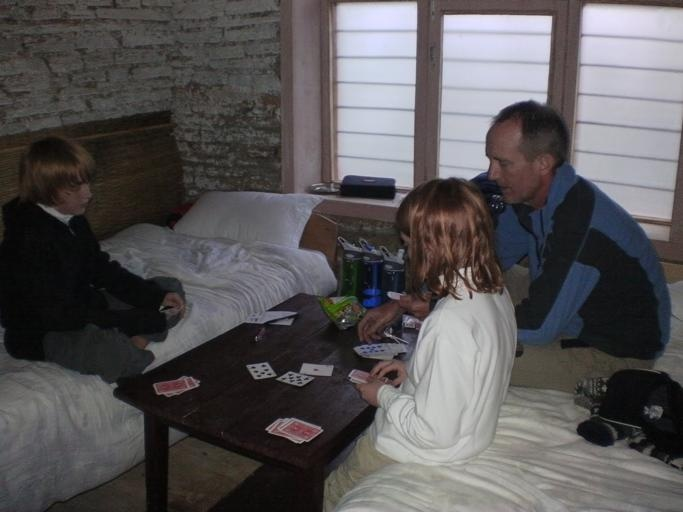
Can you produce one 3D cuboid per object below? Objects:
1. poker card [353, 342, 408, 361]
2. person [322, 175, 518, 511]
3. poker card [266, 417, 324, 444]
[{"bbox_3d":[0.183,0.439,2.453,0.181,0.025,0.096,2,15,7],"label":"poker card"},{"bbox_3d":[0.266,0.353,1.778,0.589,1.220,0.380,4,13,16],"label":"person"},{"bbox_3d":[-0.183,0.647,1.964,0.117,0.015,0.092,7,13,23],"label":"poker card"}]
